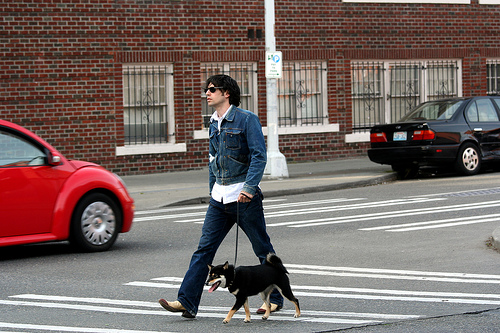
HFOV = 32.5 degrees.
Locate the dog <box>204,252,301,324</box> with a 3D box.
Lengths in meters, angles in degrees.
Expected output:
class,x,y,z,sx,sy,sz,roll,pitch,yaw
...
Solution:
class,x,y,z,sx,sy,sz,roll,pitch,yaw
dog,0.010,1.758,12.394,1.290,0.982,0.411,-3,0,-21
